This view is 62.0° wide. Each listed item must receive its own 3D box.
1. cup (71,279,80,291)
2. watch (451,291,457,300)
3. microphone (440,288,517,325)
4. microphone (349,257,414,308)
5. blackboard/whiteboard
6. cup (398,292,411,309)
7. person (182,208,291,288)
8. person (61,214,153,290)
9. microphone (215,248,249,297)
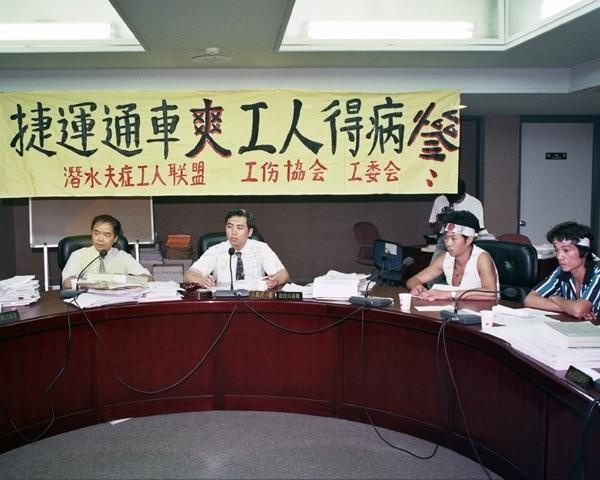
[{"bbox_3d":[-1.487,0.307,3.291,0.071,0.083,0.071,0,-2,0],"label":"cup"},{"bbox_3d":[0.955,0.347,3.088,0.030,0.048,0.044,6,-6,21],"label":"watch"},{"bbox_3d":[1.003,0.389,2.826,0.422,0.267,0.127,-1,6,-29],"label":"microphone"},{"bbox_3d":[0.486,0.258,3.118,0.393,0.324,0.254,-3,4,-39],"label":"microphone"},{"bbox_3d":[-2.325,-0.242,5.287,0.929,0.656,0.346,-4,10,-13],"label":"blackboard/whiteboard"},{"bbox_3d":[0.599,0.369,2.902,0.072,0.081,0.077,0,-8,0],"label":"cup"},{"bbox_3d":[-0.455,0.293,3.754,0.759,0.992,0.524,-2,8,-11],"label":"person"},{"bbox_3d":[-1.577,0.081,3.980,0.554,0.819,0.432,2,-15,-19],"label":"person"},{"bbox_3d":[-0.443,0.230,3.286,0.183,0.337,0.298,0,4,0],"label":"microphone"}]
